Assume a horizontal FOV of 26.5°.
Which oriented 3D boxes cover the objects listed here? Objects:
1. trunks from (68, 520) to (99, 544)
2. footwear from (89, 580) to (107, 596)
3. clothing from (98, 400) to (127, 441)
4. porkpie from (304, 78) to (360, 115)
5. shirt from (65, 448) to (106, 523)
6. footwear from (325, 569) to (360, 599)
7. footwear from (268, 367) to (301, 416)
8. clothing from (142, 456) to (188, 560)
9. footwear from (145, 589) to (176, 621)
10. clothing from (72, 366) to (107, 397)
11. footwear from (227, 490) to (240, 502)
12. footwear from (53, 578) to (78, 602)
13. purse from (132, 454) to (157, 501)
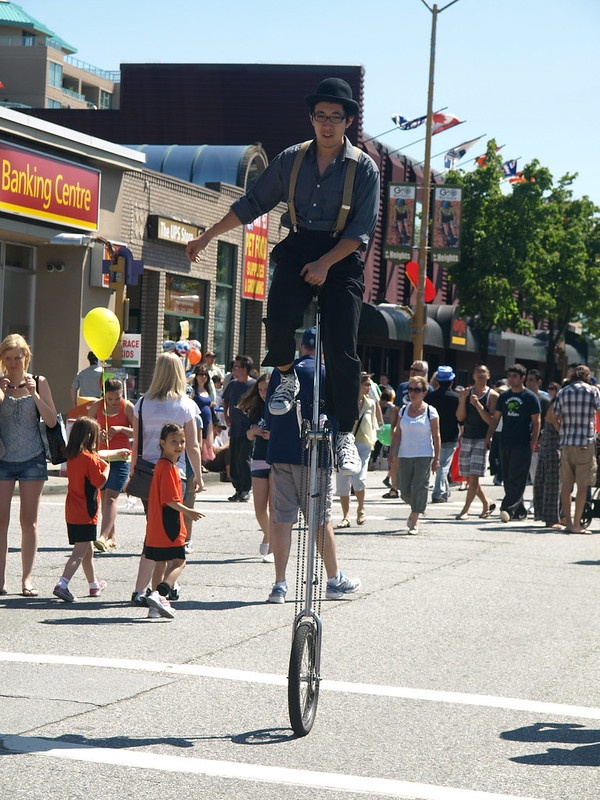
[{"bbox_3d":[-1.422,0.881,8.447,0.210,0.219,0.129,2,2,15],"label":"trunks"},{"bbox_3d":[-1.388,1.297,8.757,0.051,0.072,0.161,-4,10,15],"label":"footwear"},{"bbox_3d":[-1.673,0.193,11.283,0.303,0.446,0.227,0,-9,-1],"label":"clothing"},{"bbox_3d":[0.162,-1.332,5.568,0.165,0.087,0.216,9,-19,7],"label":"porkpie"},{"bbox_3d":[-1.446,0.591,8.578,0.259,0.396,0.402,4,1,-10],"label":"shirt"},{"bbox_3d":[0.281,1.241,8.527,0.115,0.154,0.298,8,18,40],"label":"footwear"},{"bbox_3d":[-0.075,-0.024,5.628,0.079,0.120,0.273,3,22,11],"label":"footwear"},{"bbox_3d":[-0.850,0.706,8.146,0.250,0.541,0.314,4,1,-7],"label":"clothing"},{"bbox_3d":[-0.867,1.281,7.875,0.097,0.111,0.237,8,-33,45],"label":"footwear"},{"bbox_3d":[-2.395,-0.202,14.574,0.441,0.505,0.270,3,8,4],"label":"clothing"},{"bbox_3d":[-0.864,1.278,16.690,0.224,0.148,0.078,7,4,25],"label":"footwear"},{"bbox_3d":[-1.552,1.254,8.423,0.153,0.129,0.258,5,1,-10],"label":"footwear"},{"bbox_3d":[-1.069,0.537,8.787,0.102,0.273,0.214,-2,-29,40],"label":"purse"}]
